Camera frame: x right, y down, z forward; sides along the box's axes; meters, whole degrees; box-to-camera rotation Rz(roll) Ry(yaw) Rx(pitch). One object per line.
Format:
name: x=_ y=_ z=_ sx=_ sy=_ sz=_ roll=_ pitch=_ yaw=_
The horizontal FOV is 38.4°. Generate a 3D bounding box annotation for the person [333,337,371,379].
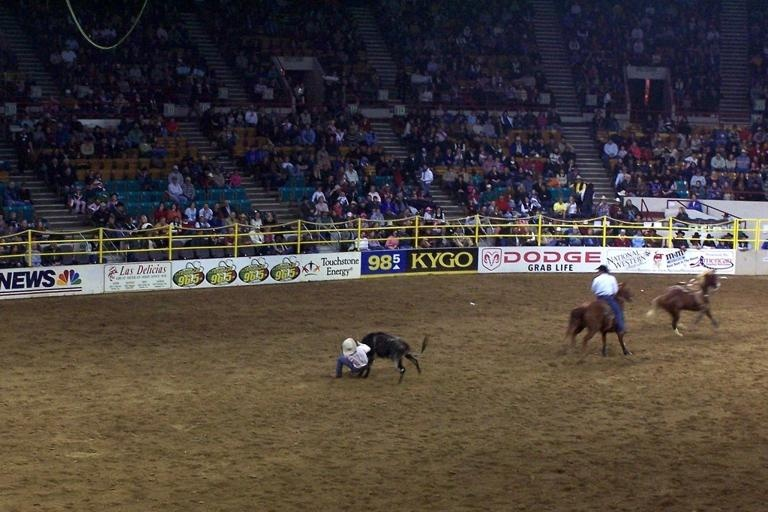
person: x=-0.987 y=3.309 z=34.974 sx=0.672 sy=1.091 sz=0.810 roll=-29 pitch=59 yaw=-33

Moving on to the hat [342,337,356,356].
hat: x=-1.076 y=2.857 z=34.600 sx=0.426 sy=0.463 sz=0.331 roll=-5 pitch=4 yaw=-1
